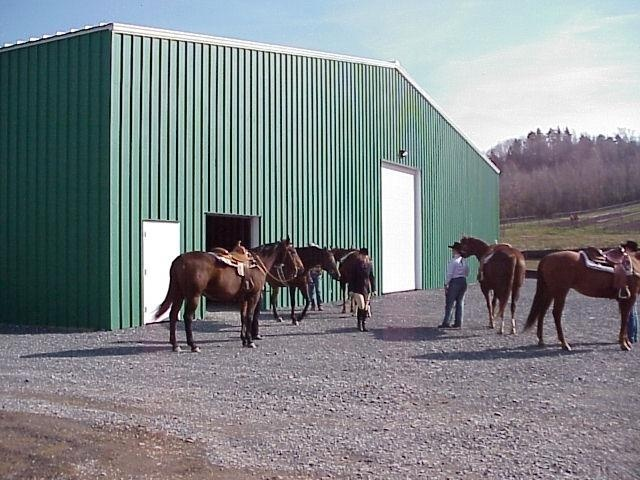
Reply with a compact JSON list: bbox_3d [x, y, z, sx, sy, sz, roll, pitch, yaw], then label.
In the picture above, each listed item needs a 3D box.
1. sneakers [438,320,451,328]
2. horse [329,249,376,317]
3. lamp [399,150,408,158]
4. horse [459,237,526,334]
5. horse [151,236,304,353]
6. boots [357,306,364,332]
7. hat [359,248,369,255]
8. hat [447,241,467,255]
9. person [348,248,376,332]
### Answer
[{"bbox_3d":[2.815,1.918,15.846,0.333,0.277,0.125,2,-1,3],"label":"sneakers"},{"bbox_3d":[0.696,0.977,18.097,0.520,1.583,2.147,9,10,-23],"label":"horse"},{"bbox_3d":[2.959,-3.114,24.986,0.209,0.170,0.306,5,-6,2],"label":"lamp"},{"bbox_3d":[4.055,1.018,16.468,0.768,2.242,3.285,2,-4,-4],"label":"horse"},{"bbox_3d":[-1.821,1.091,13.975,3.009,2.374,0.909,0,0,-29],"label":"horse"},{"bbox_3d":[0.872,1.759,15.514,0.111,0.519,0.248,0,4,1],"label":"boots"},{"bbox_3d":[0.983,0.252,15.807,0.198,0.166,0.216,2,0,-2],"label":"hat"},{"bbox_3d":[3.219,0.186,16.447,0.309,0.159,0.380,10,1,-21],"label":"hat"},{"bbox_3d":[0.922,1.110,15.857,0.564,1.857,1.174,1,4,4],"label":"person"}]
